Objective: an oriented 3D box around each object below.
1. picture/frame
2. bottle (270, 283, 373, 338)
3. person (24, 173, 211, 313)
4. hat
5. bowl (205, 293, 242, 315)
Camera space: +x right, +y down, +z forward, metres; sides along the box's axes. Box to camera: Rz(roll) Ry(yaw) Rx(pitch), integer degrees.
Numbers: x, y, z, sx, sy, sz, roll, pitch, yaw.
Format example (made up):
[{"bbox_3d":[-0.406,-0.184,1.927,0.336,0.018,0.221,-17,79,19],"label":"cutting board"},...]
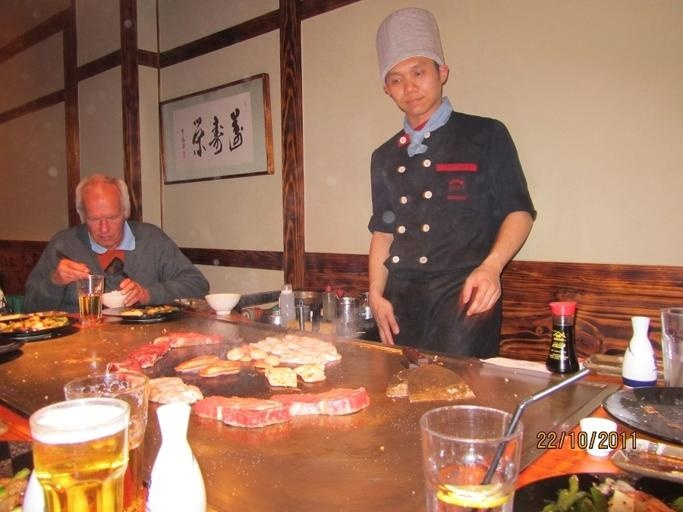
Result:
[{"bbox_3d":[-1.407,-1.357,5.580,1.737,0.988,0.126,2,4,37],"label":"picture/frame"},{"bbox_3d":[-0.072,0.430,3.835,0.450,0.174,0.446,0,8,0],"label":"bottle"},{"bbox_3d":[-1.784,-0.122,3.973,1.325,1.087,1.275,-1,3,-11],"label":"person"},{"bbox_3d":[0.444,-1.417,3.478,0.447,0.435,0.461,-9,-14,8],"label":"hat"},{"bbox_3d":[-0.778,0.313,3.411,0.164,0.090,0.164,-1,-6,0],"label":"bowl"}]
